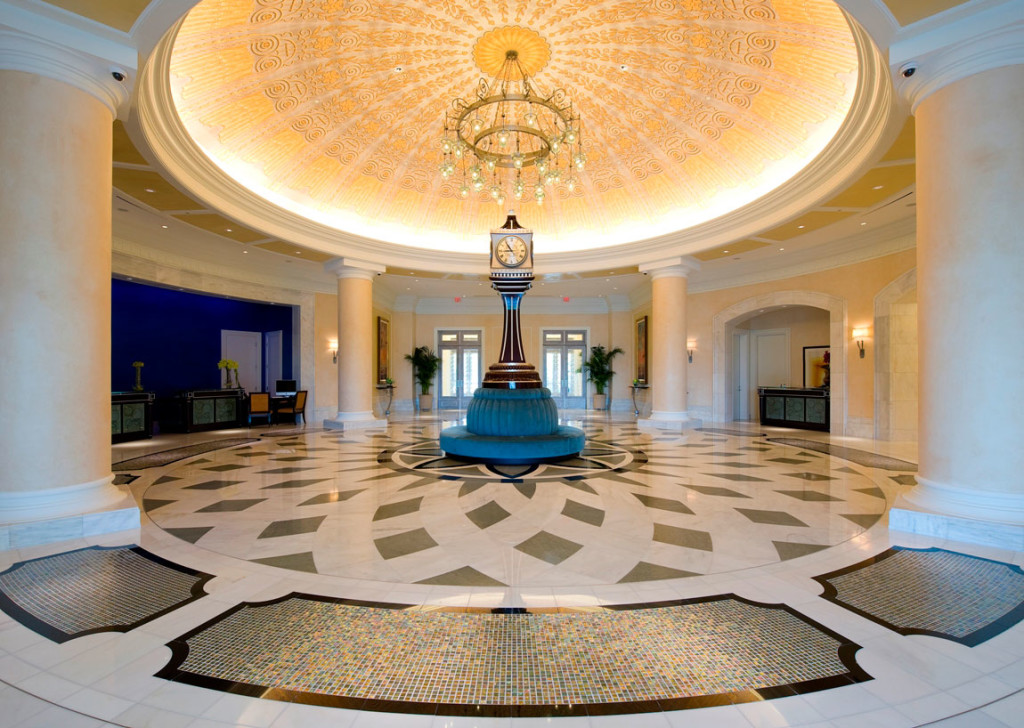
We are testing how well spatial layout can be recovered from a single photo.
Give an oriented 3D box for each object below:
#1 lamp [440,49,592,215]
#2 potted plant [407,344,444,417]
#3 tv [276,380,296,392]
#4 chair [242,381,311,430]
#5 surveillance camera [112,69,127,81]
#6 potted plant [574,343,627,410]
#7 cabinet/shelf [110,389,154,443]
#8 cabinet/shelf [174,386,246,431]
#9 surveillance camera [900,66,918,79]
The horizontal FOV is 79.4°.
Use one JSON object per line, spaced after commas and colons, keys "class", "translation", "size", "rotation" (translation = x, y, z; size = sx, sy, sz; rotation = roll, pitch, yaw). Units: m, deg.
{"class": "lamp", "translation": [-0.044, -4.073, 9.943], "size": [1.896, 2.300, 1.792], "rotation": [-1, 1, 11]}
{"class": "potted plant", "translation": [-2.779, 0.487, 19.712], "size": [1.252, 1.701, 1.118], "rotation": [-1, -1, 12]}
{"class": "tv", "translation": [-5.281, 0.502, 14.420], "size": [0.328, 0.202, 0.088], "rotation": [0, 6, -6]}
{"class": "chair", "translation": [-5.470, 0.926, 14.109], "size": [1.511, 1.033, 1.046], "rotation": [1, 1, -41]}
{"class": "surveillance camera", "translation": [-3.679, -2.708, 5.748], "size": [0.070, 0.022, 0.066], "rotation": [-3, -10, 7]}
{"class": "potted plant", "translation": [2.865, 0.389, 19.348], "size": [1.590, 1.774, 1.224], "rotation": [2, -7, 8]}
{"class": "cabinet/shelf", "translation": [-6.913, 0.963, 11.567], "size": [1.091, 0.874, 0.621], "rotation": [-4, -5, 22]}
{"class": "cabinet/shelf", "translation": [-6.438, 0.962, 13.147], "size": [0.380, 1.019, 1.590], "rotation": [5, 13, 19]}
{"class": "surveillance camera", "translation": [3.674, -2.708, 5.706], "size": [0.110, 0.075, 0.141], "rotation": [-2, 12, -11]}
